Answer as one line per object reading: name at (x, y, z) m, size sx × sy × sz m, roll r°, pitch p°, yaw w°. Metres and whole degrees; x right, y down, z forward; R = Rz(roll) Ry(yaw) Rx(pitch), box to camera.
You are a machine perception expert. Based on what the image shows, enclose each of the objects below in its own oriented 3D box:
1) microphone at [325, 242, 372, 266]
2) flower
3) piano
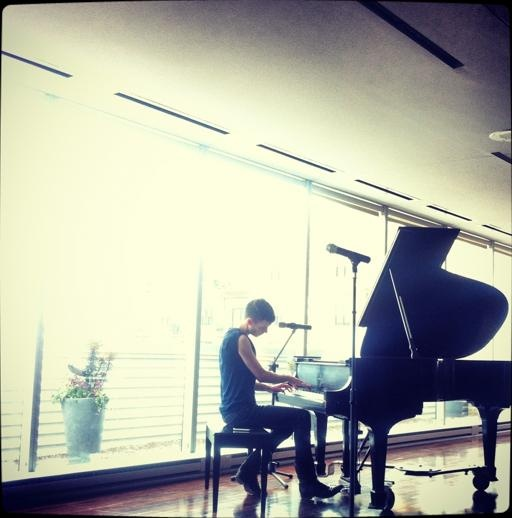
microphone at (0.571, -0.016, 3.488) m, size 0.281 × 0.111 × 0.184 m, roll 5°, pitch -5°, yaw -10°
flower at (-1.257, 0.859, 4.037) m, size 0.430 × 0.452 × 0.276 m, roll 7°, pitch -5°, yaw -34°
piano at (1.079, 0.836, 4.502) m, size 1.806 × 2.227 × 1.363 m, roll 4°, pitch -11°, yaw -18°
